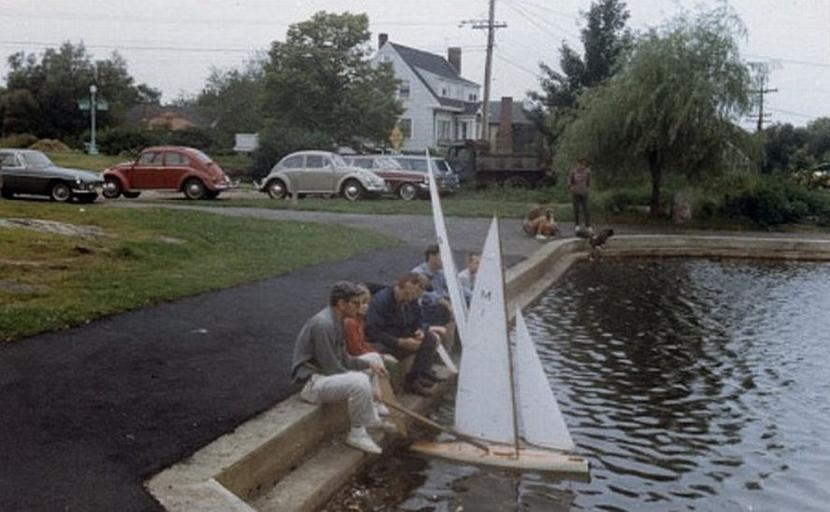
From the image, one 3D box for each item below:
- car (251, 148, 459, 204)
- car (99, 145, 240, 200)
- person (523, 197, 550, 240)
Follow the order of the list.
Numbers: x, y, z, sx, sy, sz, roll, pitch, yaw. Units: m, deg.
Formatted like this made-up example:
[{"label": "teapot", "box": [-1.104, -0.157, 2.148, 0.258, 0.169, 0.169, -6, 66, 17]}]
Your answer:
[{"label": "car", "box": [-2.276, -3.309, 33.363, 7.535, 1.986, 3.199, -4, 8, -31]}, {"label": "car", "box": [-9.251, -3.095, 30.258, 3.984, 1.855, 1.074, 0, 7, 2]}, {"label": "person", "box": [3.730, -1.224, 25.394, 0.745, 1.124, 1.348, -1, 7, -3]}]
